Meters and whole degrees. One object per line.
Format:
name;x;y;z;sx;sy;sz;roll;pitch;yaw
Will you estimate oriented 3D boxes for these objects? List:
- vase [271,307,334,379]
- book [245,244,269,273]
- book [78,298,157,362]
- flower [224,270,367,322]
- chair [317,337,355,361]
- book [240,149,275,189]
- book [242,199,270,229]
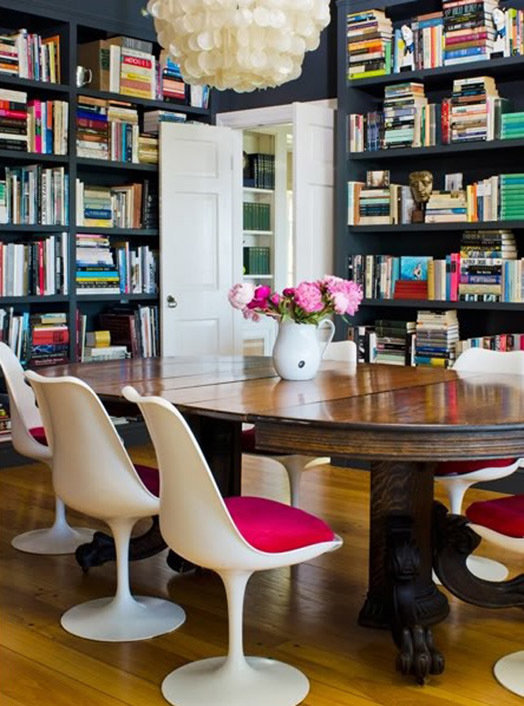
vase;0.132;-0.020;2.041;0.214;0.200;0.156;-7;18;-24
book;-0.076;-0.796;5.368;0.231;0.294;0.316;-4;9;-22
book;-1.050;-0.114;4.644;0.761;0.517;0.496;-5;-8;-5
flower;0.109;-0.170;1.951;0.252;0.106;0.239;-1;-4;16
chair;0.342;-0.002;2.791;0.136;0.161;0.139;-4;-7;33
book;-0.027;-1.558;5.206;0.361;0.342;0.106;4;-5;-43
book;-0.049;-1.162;5.213;0.071;0.252;0.346;-2;-4;36
